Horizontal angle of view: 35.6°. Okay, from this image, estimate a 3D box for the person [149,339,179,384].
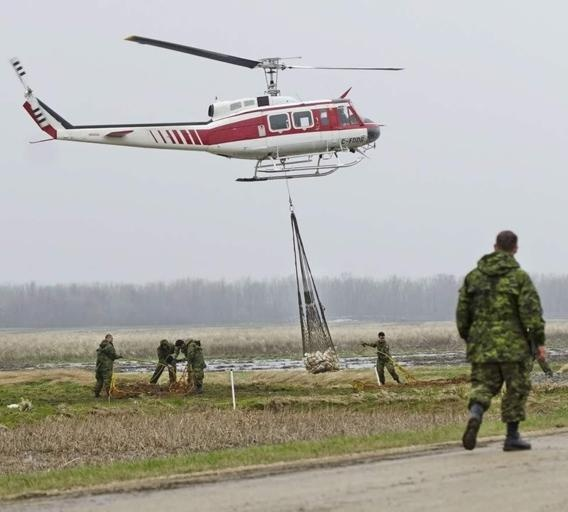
[{"bbox_3d":[-3.126,2.874,23.229,0.884,1.235,0.748,-1,6,-15],"label":"person"}]

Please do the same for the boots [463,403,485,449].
[{"bbox_3d":[2.023,1.799,9.261,0.201,0.502,0.248,9,-12,15],"label":"boots"}]

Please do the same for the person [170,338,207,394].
[{"bbox_3d":[-2.356,2.751,22.379,0.770,1.432,2.220,3,6,-6],"label":"person"}]

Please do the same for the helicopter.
[{"bbox_3d":[-1.225,-3.502,21.664,9.887,2.909,7.729,-5,10,-7],"label":"helicopter"}]

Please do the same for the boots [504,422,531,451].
[{"bbox_3d":[2.481,1.931,9.354,0.279,0.286,0.271,6,7,14],"label":"boots"}]

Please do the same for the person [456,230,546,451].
[{"bbox_3d":[2.348,0.937,9.592,0.954,2.394,1.096,5,7,3],"label":"person"}]
